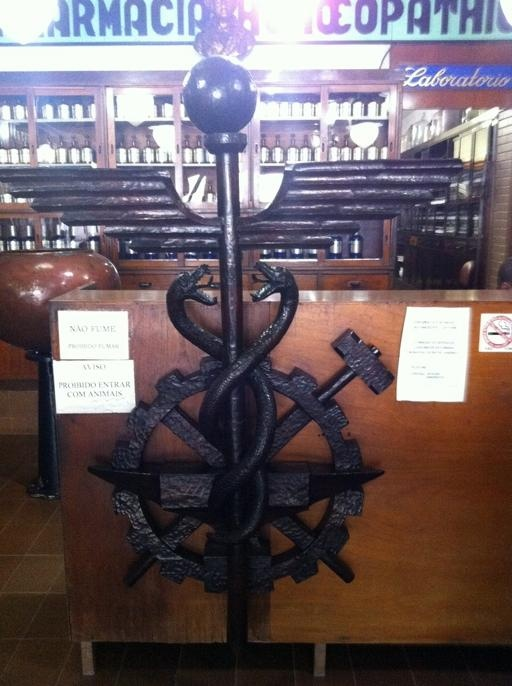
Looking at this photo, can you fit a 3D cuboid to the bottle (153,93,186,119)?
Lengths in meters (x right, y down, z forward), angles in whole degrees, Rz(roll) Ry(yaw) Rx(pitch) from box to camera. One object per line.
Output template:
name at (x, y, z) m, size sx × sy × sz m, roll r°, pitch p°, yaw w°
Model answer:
bottle at (-0.573, -1.586, 3.899) m, size 0.221 × 0.141 × 0.200 m, roll -1°, pitch 10°, yaw -6°
